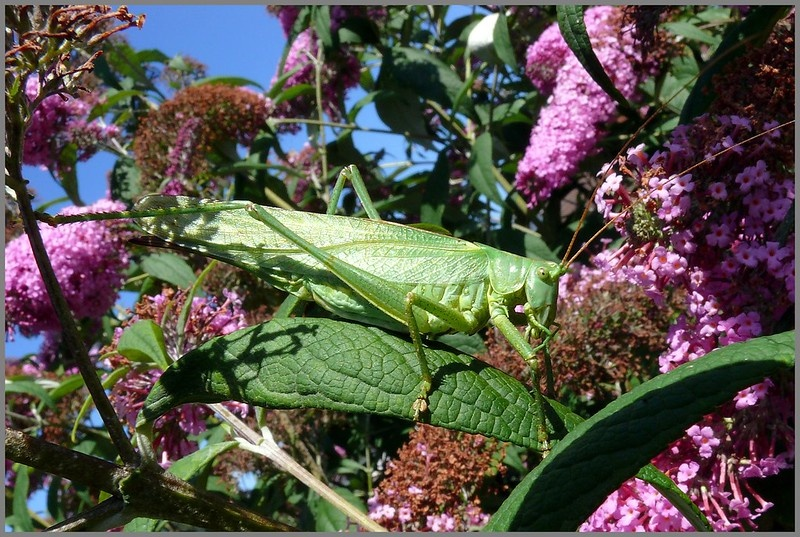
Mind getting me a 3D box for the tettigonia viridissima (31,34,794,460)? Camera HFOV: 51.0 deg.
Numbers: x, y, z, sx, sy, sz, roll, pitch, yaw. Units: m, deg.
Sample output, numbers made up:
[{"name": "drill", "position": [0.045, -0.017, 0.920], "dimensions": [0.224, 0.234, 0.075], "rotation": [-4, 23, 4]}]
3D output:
[{"name": "tettigonia viridissima", "position": [-0.157, -0.161, 3.017], "dimensions": [2.677, 0.844, 1.199], "rotation": [4, -60, 3]}]
